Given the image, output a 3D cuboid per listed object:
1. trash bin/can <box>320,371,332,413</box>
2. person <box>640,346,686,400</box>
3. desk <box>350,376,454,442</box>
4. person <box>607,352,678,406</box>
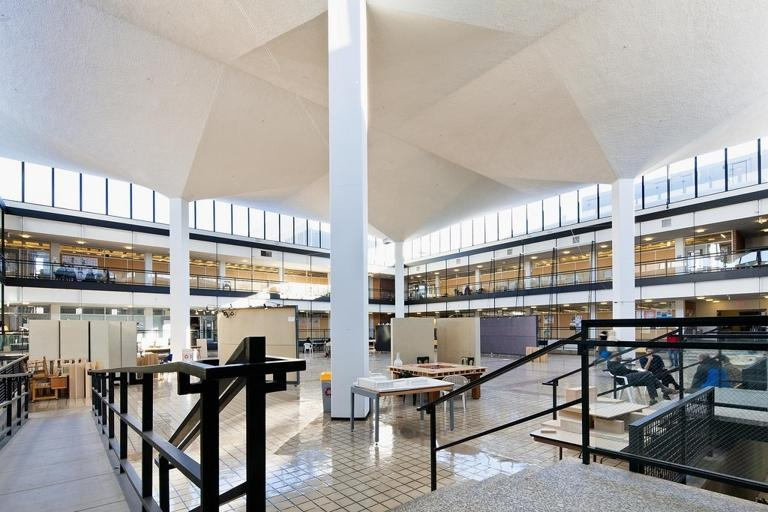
[{"bbox_3d":[-1.439,3.451,13.988,0.214,0.945,0.427,-1,-8,-14],"label":"trash bin/can"},{"bbox_3d":[4.449,1.933,8.944,0.422,0.800,0.878,-8,-9,35],"label":"person"},{"bbox_3d":[0.391,3.496,13.002,2.421,1.209,1.914,8,-11,-42],"label":"desk"},{"bbox_3d":[4.268,2.147,9.471,1.035,1.089,0.888,-20,-12,28],"label":"person"}]
